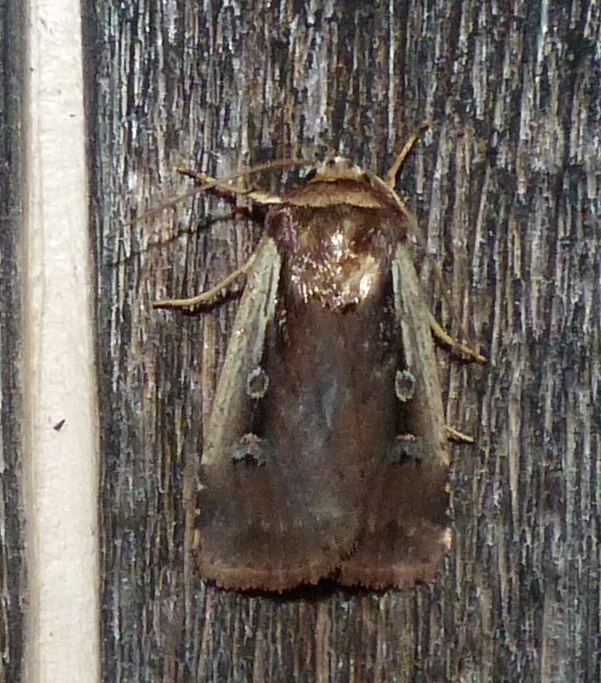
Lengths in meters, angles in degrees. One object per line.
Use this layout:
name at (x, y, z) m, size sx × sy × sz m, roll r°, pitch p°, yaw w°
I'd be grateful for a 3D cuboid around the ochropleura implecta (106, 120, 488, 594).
ochropleura implecta at (-0.042, 0.077, 5.609) m, size 0.495 × 1.086 × 0.232 m, roll -2°, pitch -1°, yaw 0°
